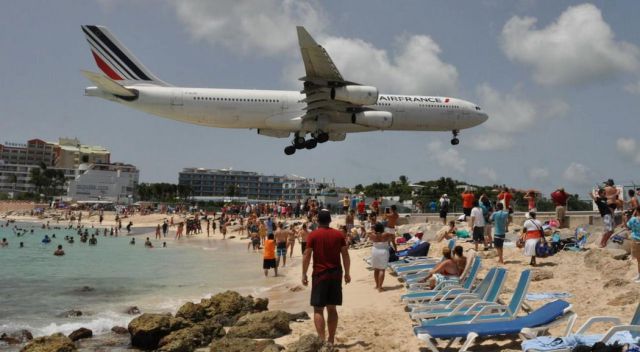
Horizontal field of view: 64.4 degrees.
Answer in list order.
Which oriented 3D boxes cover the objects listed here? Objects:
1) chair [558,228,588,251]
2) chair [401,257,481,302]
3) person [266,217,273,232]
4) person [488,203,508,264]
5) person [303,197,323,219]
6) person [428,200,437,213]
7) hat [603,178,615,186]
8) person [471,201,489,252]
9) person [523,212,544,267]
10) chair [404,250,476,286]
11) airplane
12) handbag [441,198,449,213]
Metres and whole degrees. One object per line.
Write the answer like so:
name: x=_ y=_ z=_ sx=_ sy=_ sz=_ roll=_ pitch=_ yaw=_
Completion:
chair: x=11.491 y=2.910 z=23.000 sx=1.344 sy=0.769 sz=0.854 roll=0 pitch=-2 yaw=-19
chair: x=5.114 y=4.051 z=20.456 sx=3.093 sy=1.367 sz=2.152 roll=4 pitch=-12 yaw=10
person: x=-2.916 y=2.866 z=29.956 sx=0.373 sy=0.745 sz=1.251 roll=-4 pitch=0 yaw=-7
person: x=7.848 y=2.496 z=22.241 sx=0.673 sy=1.950 sz=1.104 roll=-3 pitch=1 yaw=18
person: x=-0.569 y=2.216 z=34.809 sx=1.009 sy=0.609 sz=1.962 roll=-7 pitch=3 yaw=6
person: x=8.175 y=2.249 z=36.765 sx=0.441 sy=0.636 sz=0.925 roll=-4 pitch=0 yaw=3
hat: x=9.136 y=0.215 z=16.047 sx=0.251 sy=0.248 sz=0.262 roll=4 pitch=1 yaw=-13
person: x=7.183 y=2.251 z=23.339 sx=0.955 sy=2.274 sz=0.987 roll=-3 pitch=0 yaw=-27
person: x=9.004 y=2.602 z=21.594 sx=0.723 sy=1.609 sz=0.886 roll=-3 pitch=1 yaw=35
chair: x=4.713 y=3.563 z=20.141 sx=2.396 sy=1.174 sz=1.545 roll=-1 pitch=-2 yaw=-7
airplane: x=-2.994 y=-4.583 z=32.999 sx=16.761 sy=4.661 sz=14.971 roll=1 pitch=-1 yaw=-14
handbag: x=7.060 y=1.666 z=28.873 sx=0.405 sy=0.684 sz=0.535 roll=-22 pitch=-40 yaw=36
